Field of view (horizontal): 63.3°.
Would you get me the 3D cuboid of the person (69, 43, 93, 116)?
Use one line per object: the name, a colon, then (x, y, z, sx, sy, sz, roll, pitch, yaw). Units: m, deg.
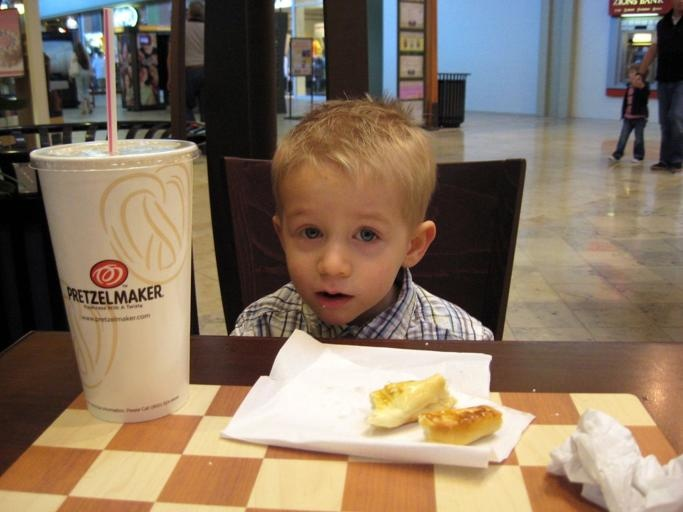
person: (-3.290, -2.232, 7.029, 0.239, 0.877, 0.677, -10, 19, -21)

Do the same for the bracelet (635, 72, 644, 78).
bracelet: (3.325, -2.014, 6.178, 0.044, 0.039, 0.044, 4, -7, 18)

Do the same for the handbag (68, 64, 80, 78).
handbag: (-3.322, -2.299, 6.899, 0.099, 0.102, 0.179, -1, -17, -13)

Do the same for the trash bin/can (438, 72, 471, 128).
trash bin/can: (1.814, -2.589, 9.310, 0.655, 0.799, 0.664, -10, 17, -23)

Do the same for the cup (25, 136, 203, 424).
cup: (-0.261, 0.036, 0.653, 0.195, 0.282, 0.191, -4, 9, 1)

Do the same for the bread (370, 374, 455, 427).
bread: (0.072, 0.147, 0.606, 0.074, 0.027, 0.047, -17, 20, -29)

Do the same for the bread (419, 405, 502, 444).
bread: (0.122, 0.173, 0.565, 0.070, 0.021, 0.037, -5, 8, -23)
